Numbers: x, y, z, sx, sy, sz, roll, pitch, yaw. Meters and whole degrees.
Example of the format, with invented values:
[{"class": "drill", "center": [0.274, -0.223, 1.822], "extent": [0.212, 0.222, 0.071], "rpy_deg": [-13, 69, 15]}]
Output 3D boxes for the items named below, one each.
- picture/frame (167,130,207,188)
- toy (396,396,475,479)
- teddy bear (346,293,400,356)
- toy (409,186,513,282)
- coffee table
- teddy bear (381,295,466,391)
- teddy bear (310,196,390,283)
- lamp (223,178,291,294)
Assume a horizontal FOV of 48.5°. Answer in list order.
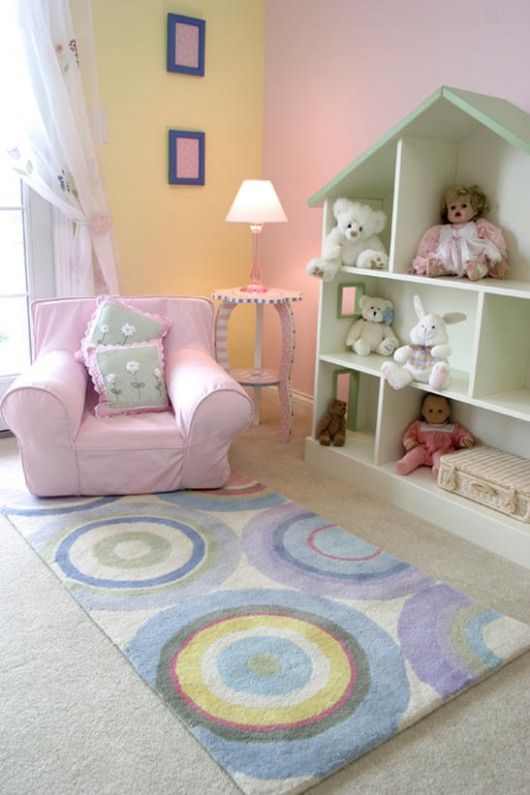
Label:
[{"class": "picture/frame", "center": [-0.456, -1.355, 3.321], "extent": [0.315, 0.363, 0.039], "rpy_deg": [-12, 21, -41]}, {"class": "toy", "center": [0.664, 0.147, 2.361], "extent": [0.280, 0.319, 0.230], "rpy_deg": [-3, 10, -36]}, {"class": "teddy bear", "center": [0.478, -0.311, 2.625], "extent": [0.217, 0.256, 0.187], "rpy_deg": [3, 13, -4]}, {"class": "toy", "center": [0.701, -0.601, 2.149], "extent": [0.341, 0.342, 0.287], "rpy_deg": [2, 12, 20]}, {"class": "coffee table", "center": [-0.040, -0.201, 3.156], "extent": [0.479, 0.742, 0.447], "rpy_deg": [7, 18, 23]}, {"class": "teddy bear", "center": [0.587, -0.199, 2.193], "extent": [0.276, 0.330, 0.236], "rpy_deg": [7, 16, 25]}, {"class": "teddy bear", "center": [0.354, -0.658, 2.459], "extent": [0.321, 0.305, 0.258], "rpy_deg": [5, 49, 4]}, {"class": "lamp", "center": [-0.045, -0.808, 2.999], "extent": [0.315, 0.541, 0.311], "rpy_deg": [-1, 12, -6]}]
